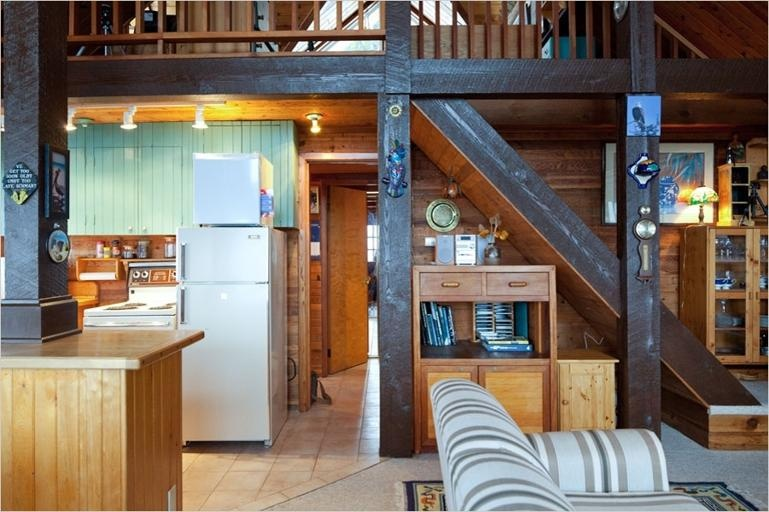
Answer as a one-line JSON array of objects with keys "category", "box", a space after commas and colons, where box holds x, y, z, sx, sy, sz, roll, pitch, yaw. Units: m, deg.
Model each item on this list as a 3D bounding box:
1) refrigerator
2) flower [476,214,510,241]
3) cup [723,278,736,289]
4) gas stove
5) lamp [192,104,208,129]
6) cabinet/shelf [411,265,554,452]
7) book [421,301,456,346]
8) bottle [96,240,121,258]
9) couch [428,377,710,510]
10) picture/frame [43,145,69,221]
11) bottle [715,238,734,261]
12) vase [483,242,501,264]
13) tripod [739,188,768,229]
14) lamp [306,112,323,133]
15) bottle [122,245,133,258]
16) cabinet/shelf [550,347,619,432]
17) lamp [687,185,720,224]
[{"category": "refrigerator", "box": [-1.413, 0.732, 7.809, 1.079, 2.035, 0.559, -3, 2, -19]}, {"category": "flower", "box": [1.089, -0.298, 8.097, 0.264, 0.175, 0.270, -25, 43, -26]}, {"category": "cup", "box": [3.571, 0.283, 8.434, 0.140, 0.125, 0.084, 4, -6, -2]}, {"category": "gas stove", "box": [-2.406, 0.396, 8.153, 0.656, 0.857, 0.767, 0, -2, -1]}, {"category": "lamp", "box": [-1.724, -1.314, 7.746, 0.209, 0.204, 0.208, 1, 0, 4]}, {"category": "cabinet/shelf", "box": [1.154, 1.020, 7.867, 1.451, 1.763, 1.038, -4, -15, 29]}, {"category": "book", "box": [0.533, 0.683, 8.297, 0.421, 0.538, 0.420, -1, -4, -1]}, {"category": "bottle", "box": [-2.906, -0.070, 8.649, 0.288, 0.190, 0.137, 0, 1, -4]}, {"category": "couch", "box": [1.222, 1.547, 5.706, 1.386, 0.942, 1.296, -2, -1, 0]}, {"category": "picture/frame", "box": [-2.631, -0.584, 6.549, 0.068, 0.586, 0.218, -1, 2, 26]}, {"category": "bottle", "box": [3.502, -0.078, 8.382, 0.221, 0.227, 0.020, -3, 2, -23]}, {"category": "vase", "box": [1.037, -0.012, 7.948, 0.188, 0.237, 0.178, 3, -2, -5]}, {"category": "tripod", "box": [3.876, -0.520, 8.532, 0.305, 0.389, 0.121, -2, 2, -10]}, {"category": "lamp", "box": [-0.690, -1.323, 8.123, 0.157, 0.152, 0.162, 1, 1, 2]}, {"category": "bottle", "box": [-2.693, -0.039, 8.617, 0.132, 0.165, 0.123, 0, 4, 0]}, {"category": "cabinet/shelf", "box": [1.852, 1.233, 7.496, 0.643, 0.923, 0.656, 0, -3, 1]}, {"category": "lamp", "box": [3.263, -0.527, 8.397, 0.331, 0.370, 0.309, -4, 1, -8]}]
